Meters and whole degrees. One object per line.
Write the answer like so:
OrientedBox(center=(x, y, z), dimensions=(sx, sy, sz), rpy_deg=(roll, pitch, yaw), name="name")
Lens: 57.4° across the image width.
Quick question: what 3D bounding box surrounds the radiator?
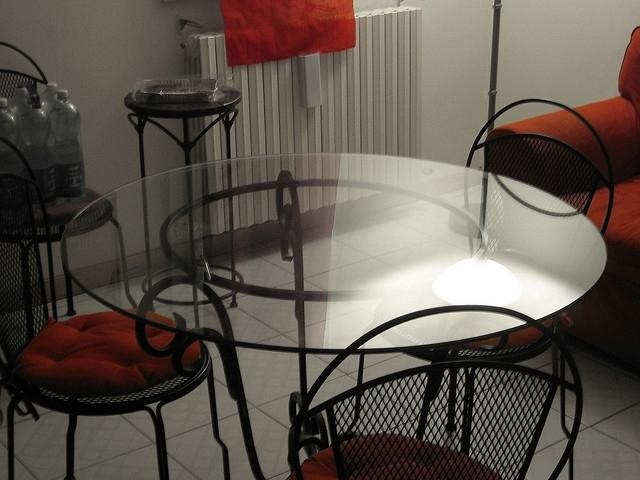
OrientedBox(center=(-0.119, -0.603, 2.721), dimensions=(1.058, 0.878, 0.148), rpy_deg=(-14, 21, -35), name="radiator")
